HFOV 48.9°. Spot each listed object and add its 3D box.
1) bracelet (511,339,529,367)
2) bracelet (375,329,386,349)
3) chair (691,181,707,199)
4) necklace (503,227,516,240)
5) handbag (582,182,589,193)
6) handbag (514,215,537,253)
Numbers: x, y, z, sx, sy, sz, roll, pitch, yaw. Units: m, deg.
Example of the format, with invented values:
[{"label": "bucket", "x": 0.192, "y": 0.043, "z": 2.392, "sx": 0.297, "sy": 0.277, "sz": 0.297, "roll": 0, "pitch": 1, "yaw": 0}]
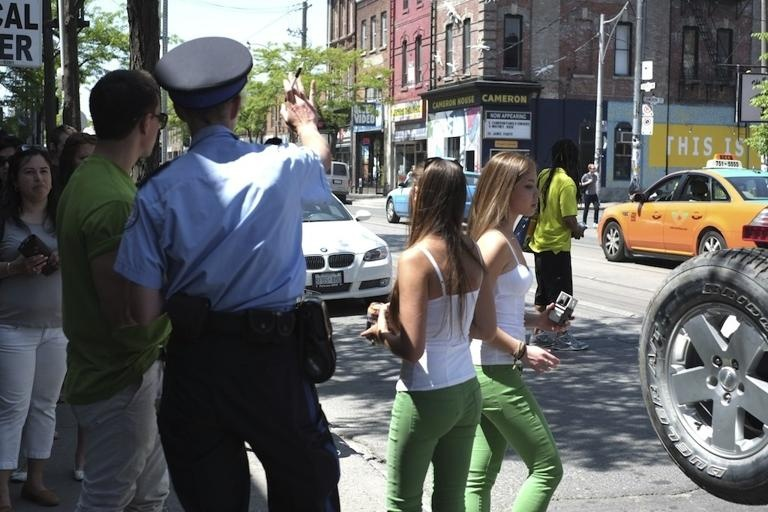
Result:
[{"label": "bracelet", "x": 0.815, "y": 0.586, "z": 5.057, "sx": 0.043, "sy": 0.127, "sz": 0.111, "roll": 6, "pitch": 11, "yaw": 29}, {"label": "bracelet", "x": -0.010, "y": 0.483, "z": 4.850, "sx": 0.068, "sy": 0.079, "sz": 0.072, "roll": 4, "pitch": 5, "yaw": 27}, {"label": "chair", "x": 5.651, "y": -1.160, "z": 15.138, "sx": 0.232, "sy": 0.358, "sz": 0.267, "roll": 4, "pitch": 3, "yaw": 41}, {"label": "necklace", "x": 0.780, "y": -0.136, "z": 5.286, "sx": 0.063, "sy": 0.056, "sz": 0.054, "roll": 1, "pitch": 1, "yaw": 36}, {"label": "handbag", "x": 5.973, "y": -2.010, "z": 25.178, "sx": 0.230, "sy": 0.270, "sz": 0.450, "roll": 5, "pitch": 12, "yaw": 2}, {"label": "handbag", "x": 1.384, "y": -0.226, "z": 8.291, "sx": 0.187, "sy": 0.407, "sz": 0.270, "roll": 10, "pitch": 18, "yaw": 23}]
